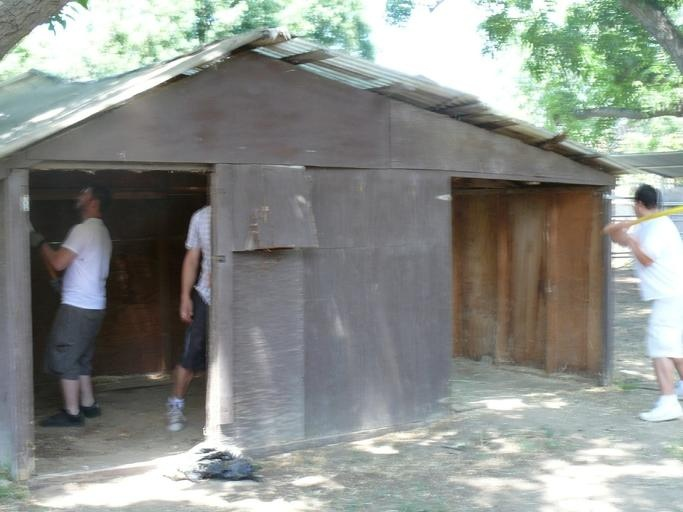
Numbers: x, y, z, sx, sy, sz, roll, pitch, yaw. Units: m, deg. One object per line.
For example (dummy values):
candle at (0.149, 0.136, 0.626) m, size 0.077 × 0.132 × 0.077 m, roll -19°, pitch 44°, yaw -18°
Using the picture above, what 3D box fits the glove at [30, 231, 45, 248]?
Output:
glove at (-3.126, -0.166, 8.848) m, size 0.125 × 0.198 × 0.348 m, roll -5°, pitch 12°, yaw -19°

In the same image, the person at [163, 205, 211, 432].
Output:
person at (-1.534, 0.660, 8.878) m, size 0.415 × 2.397 × 0.556 m, roll 9°, pitch 18°, yaw 31°

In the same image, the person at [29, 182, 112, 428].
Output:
person at (-2.797, 0.549, 9.096) m, size 0.541 × 2.572 × 0.834 m, roll 4°, pitch 15°, yaw 16°
